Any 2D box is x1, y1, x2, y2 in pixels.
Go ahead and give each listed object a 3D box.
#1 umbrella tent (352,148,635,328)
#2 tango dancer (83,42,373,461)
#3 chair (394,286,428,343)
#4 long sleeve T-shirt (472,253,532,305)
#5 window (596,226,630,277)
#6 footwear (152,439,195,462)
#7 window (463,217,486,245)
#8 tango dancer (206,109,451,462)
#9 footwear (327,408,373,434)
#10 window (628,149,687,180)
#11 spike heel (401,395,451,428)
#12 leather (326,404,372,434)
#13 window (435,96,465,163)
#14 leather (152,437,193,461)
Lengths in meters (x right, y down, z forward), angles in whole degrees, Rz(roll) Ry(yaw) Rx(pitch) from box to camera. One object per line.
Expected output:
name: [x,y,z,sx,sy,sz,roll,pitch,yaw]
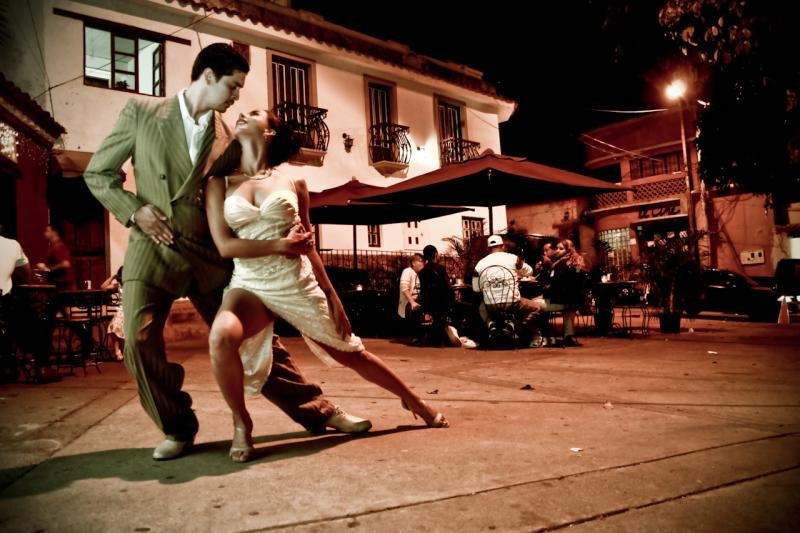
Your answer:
umbrella tent: [1.746,-1.702,11.822,5.343,1.242,5.460,2,8,30]
tango dancer: [-1.433,-0.157,4.476,1.638,3.154,0.807,-5,-6,-16]
chair: [0.190,0.829,11.025,0.440,1.417,0.435,-12,10,-7]
long sleeve T-shirt: [1.569,0.228,9.246,1.006,1.304,0.703,-1,0,13]
window: [10.316,-0.334,29.017,2.052,2.381,2.153,-1,1,19]
footwear: [-1.624,1.342,4.132,0.258,0.105,0.127,8,-17,-37]
window: [2.280,-1.069,17.887,1.033,0.737,0.122,1,-6,-41]
tango dancer: [-0.657,0.114,4.586,1.914,2.636,0.822,-3,-7,-18]
footwear: [-0.432,1.270,4.691,0.439,0.195,0.154,6,5,18]
window: [12.150,-4.789,26.930,0.129,1.098,1.887,-1,-5,-44]
spike heel: [0.210,1.219,4.743,0.457,0.187,0.120,40,-20,-8]
leather: [-0.365,1.271,4.676,0.442,0.198,0.155,4,4,21]
window: [1.625,-4.230,18.333,0.094,1.993,1.055,-27,32,-36]
leather: [-1.645,1.347,4.187,0.269,0.106,0.130,5,-12,-38]
